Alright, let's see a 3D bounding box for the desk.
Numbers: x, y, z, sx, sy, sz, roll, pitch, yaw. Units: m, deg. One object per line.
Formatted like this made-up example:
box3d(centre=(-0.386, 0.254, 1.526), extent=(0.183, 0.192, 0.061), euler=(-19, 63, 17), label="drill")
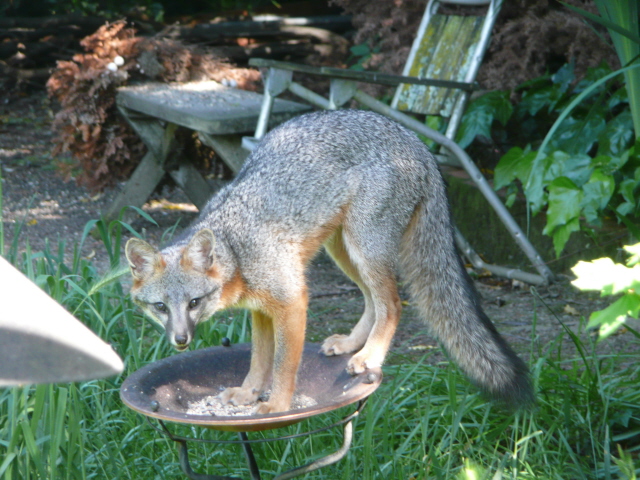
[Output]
box3d(centre=(-1.138, -0.817, 8.115), extent=(1.162, 0.812, 1.219), euler=(12, 21, -7), label="desk")
